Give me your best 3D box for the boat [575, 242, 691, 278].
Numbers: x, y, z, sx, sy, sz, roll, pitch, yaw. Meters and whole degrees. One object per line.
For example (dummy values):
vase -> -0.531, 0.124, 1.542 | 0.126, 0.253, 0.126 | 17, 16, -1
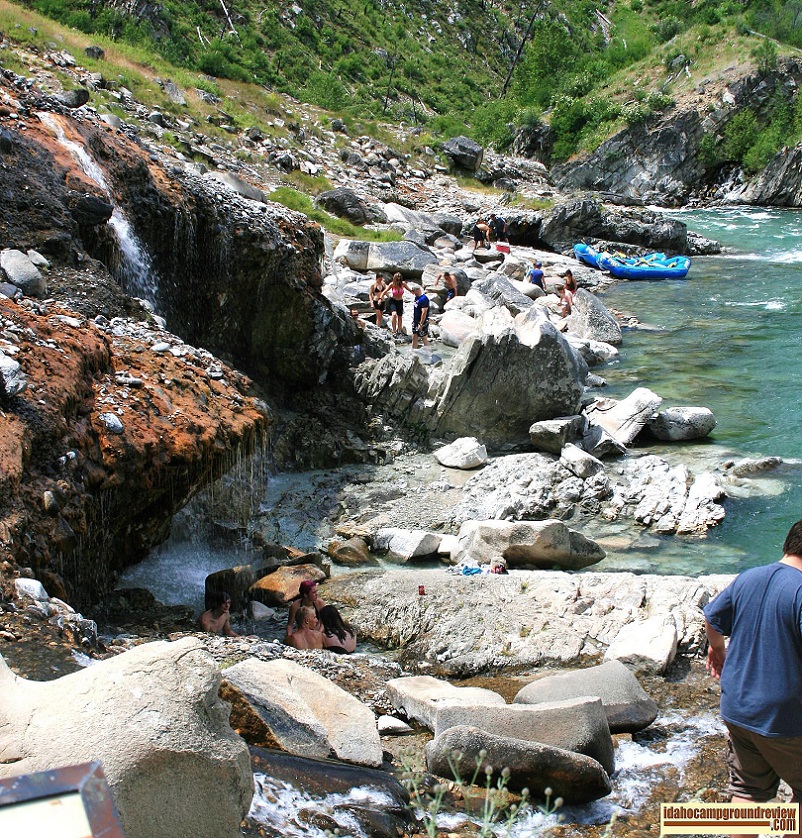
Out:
boat -> 7.344, -4.673, 30.774 | 3.236, 0.731, 1.548 | 3, 27, -8

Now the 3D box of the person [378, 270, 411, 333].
person -> -0.205, -2.262, 19.563 | 0.572, 1.179, 1.647 | -6, 6, -1
